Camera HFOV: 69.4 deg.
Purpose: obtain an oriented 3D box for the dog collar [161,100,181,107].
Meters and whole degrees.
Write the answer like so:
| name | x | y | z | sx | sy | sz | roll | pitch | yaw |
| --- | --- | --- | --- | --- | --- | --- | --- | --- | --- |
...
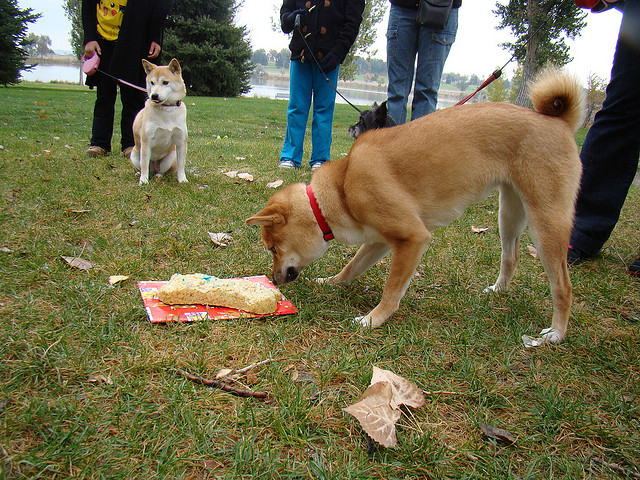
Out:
| name | x | y | z | sx | sy | sz | roll | pitch | yaw |
| --- | --- | --- | --- | --- | --- | --- | --- | --- | --- |
| dog collar | -1.920 | -1.784 | 6.066 | 0.079 | 0.066 | 0.296 | 12 | 20 | 18 |

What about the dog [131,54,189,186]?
| name | x | y | z | sx | sy | sz | roll | pitch | yaw |
| --- | --- | --- | --- | --- | --- | --- | --- | --- | --- |
| dog | -2.125 | -1.625 | 6.238 | 0.782 | 1.501 | 1.654 | -1 | 20 | -19 |
